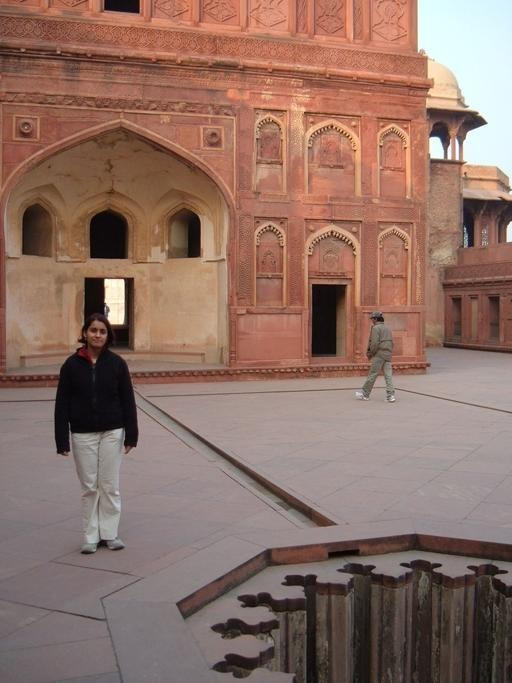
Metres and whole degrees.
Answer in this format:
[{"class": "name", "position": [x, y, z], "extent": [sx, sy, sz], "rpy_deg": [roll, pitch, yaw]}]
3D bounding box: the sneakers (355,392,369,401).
[{"class": "sneakers", "position": [1.342, 0.666, 10.221], "extent": [0.066, 0.086, 0.182], "rpy_deg": [-21, 47, -39]}]

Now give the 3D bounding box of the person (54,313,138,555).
[{"class": "person", "position": [-0.849, 0.473, 4.270], "extent": [0.425, 1.233, 0.238], "rpy_deg": [0, -2, -10]}]

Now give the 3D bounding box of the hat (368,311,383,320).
[{"class": "hat", "position": [1.710, -0.392, 11.528], "extent": [0.192, 0.145, 0.265], "rpy_deg": [3, 7, 18]}]

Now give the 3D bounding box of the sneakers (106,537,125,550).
[{"class": "sneakers", "position": [-0.733, 1.054, 4.191], "extent": [0.041, 0.052, 0.112], "rpy_deg": [4, -11, -37]}]

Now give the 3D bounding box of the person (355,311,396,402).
[{"class": "person", "position": [1.637, 0.155, 10.931], "extent": [0.505, 1.236, 2.165], "rpy_deg": [-1, -2, 9]}]
